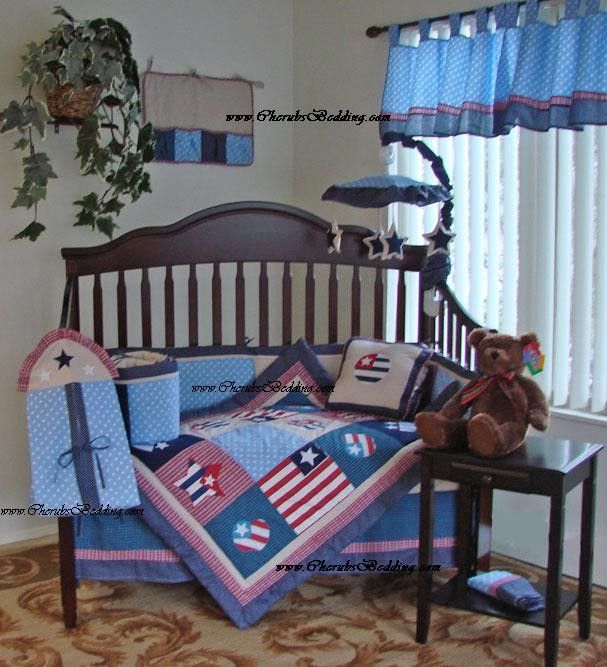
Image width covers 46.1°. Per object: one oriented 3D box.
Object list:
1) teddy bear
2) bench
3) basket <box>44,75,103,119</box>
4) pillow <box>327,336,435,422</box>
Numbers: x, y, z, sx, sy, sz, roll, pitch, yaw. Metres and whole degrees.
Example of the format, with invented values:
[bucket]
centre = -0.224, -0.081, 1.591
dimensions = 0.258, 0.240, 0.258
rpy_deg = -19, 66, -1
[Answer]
[teddy bear]
centre = 0.490, 0.162, 1.960
dimensions = 0.349, 0.304, 0.272
rpy_deg = -4, 8, -20
[bench]
centre = -0.074, 0.265, 2.366
dimensions = 1.724, 1.300, 0.604
rpy_deg = -2, 4, -21
[basket]
centre = -0.843, -0.851, 2.605
dimensions = 0.186, 0.170, 0.054
rpy_deg = -13, 60, -44
[pillow]
centre = 0.278, 0.159, 2.579
dimensions = 0.401, 0.334, 0.114
rpy_deg = 17, -20, 48
